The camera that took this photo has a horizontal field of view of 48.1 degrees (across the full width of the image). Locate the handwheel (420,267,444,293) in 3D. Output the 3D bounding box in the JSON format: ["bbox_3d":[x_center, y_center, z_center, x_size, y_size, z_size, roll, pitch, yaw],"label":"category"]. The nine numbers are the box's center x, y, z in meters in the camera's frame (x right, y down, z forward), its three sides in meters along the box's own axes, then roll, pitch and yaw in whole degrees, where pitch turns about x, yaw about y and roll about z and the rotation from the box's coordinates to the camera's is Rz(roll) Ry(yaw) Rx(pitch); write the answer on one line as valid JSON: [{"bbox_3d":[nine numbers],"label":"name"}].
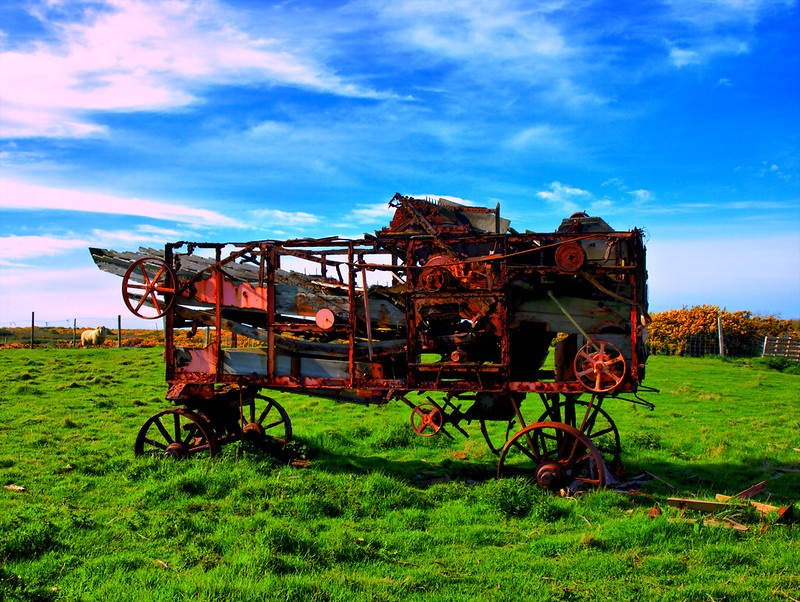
[{"bbox_3d":[0.831,-0.537,22.314,0.777,0.627,0.398,-1,1,31],"label":"handwheel"}]

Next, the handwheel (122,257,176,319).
[{"bbox_3d":[-5.860,-0.366,21.311,1.863,1.570,0.269,7,5,8],"label":"handwheel"}]

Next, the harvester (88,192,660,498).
[{"bbox_3d":[-0.433,1.139,25.718,16.920,6.720,5.489,-3,4,29],"label":"harvester"}]

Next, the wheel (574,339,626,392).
[{"bbox_3d":[4.881,1.576,21.728,1.492,1.166,0.431,5,-5,8],"label":"wheel"}]

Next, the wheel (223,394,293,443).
[{"bbox_3d":[-4.169,3.432,26.087,1.887,1.492,0.695,-1,1,22],"label":"wheel"}]

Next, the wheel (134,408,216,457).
[{"bbox_3d":[-6.157,3.630,24.738,1.637,1.272,0.487,-4,-8,4],"label":"wheel"}]
